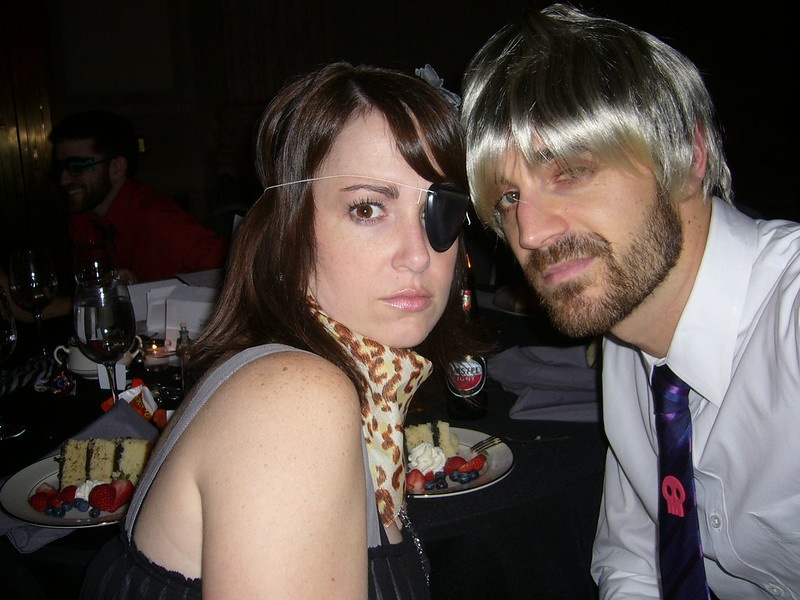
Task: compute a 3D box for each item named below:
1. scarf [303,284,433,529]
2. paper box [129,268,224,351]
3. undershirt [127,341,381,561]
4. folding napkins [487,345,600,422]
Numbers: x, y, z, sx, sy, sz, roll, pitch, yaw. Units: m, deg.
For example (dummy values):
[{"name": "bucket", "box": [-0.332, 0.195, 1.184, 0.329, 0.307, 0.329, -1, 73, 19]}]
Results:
[{"name": "scarf", "box": [-0.076, 0.216, 1.396, 0.206, 0.535, 0.385, -16, -24, 31]}, {"name": "paper box", "box": [-0.852, 0.044, 2.511, 0.250, 0.208, 0.273, 2, 17, 32]}, {"name": "undershirt", "box": [-0.349, 0.238, 1.493, 0.312, 0.635, 0.138, 9, -15, 26]}, {"name": "folding napkins", "box": [0.499, 0.273, 2.140, 0.219, 0.033, 0.271, -5, 39, 5]}]
